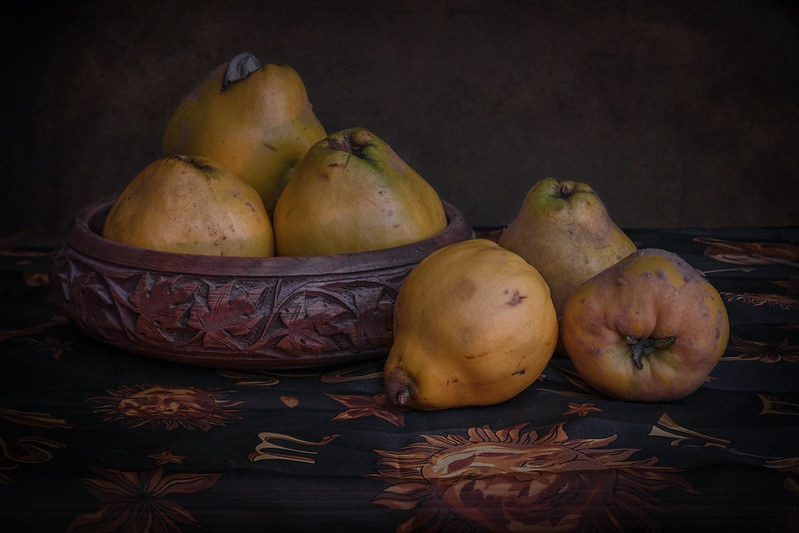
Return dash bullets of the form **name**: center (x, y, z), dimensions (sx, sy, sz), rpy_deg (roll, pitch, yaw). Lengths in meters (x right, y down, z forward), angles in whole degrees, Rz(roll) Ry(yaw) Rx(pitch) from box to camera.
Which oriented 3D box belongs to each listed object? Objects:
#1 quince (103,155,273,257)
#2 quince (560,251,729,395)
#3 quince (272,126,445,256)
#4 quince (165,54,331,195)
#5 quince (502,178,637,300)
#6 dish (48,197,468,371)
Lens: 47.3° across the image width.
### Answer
- **quince**: center (-0.269, -0.075, 1.223), dimensions (0.191, 0.130, 0.171), rpy_deg (-1, 5, -30)
- **quince**: center (0.275, 0.087, 1.114), dimensions (0.219, 0.180, 0.160), rpy_deg (-3, 62, 12)
- **quince**: center (-0.033, -0.098, 1.242), dimensions (0.224, 0.160, 0.201), rpy_deg (-4, 6, 22)
- **quince**: center (-0.215, -0.212, 1.338), dimensions (0.258, 0.213, 0.179), rpy_deg (12, 45, 5)
- **quince**: center (0.217, -0.040, 1.271), dimensions (0.205, 0.145, 0.181), rpy_deg (-14, 19, -29)
- **dish**: center (-0.211, 0.064, 1.267), dimensions (0.475, 0.105, 0.399), rpy_deg (-2, 2, -8)
